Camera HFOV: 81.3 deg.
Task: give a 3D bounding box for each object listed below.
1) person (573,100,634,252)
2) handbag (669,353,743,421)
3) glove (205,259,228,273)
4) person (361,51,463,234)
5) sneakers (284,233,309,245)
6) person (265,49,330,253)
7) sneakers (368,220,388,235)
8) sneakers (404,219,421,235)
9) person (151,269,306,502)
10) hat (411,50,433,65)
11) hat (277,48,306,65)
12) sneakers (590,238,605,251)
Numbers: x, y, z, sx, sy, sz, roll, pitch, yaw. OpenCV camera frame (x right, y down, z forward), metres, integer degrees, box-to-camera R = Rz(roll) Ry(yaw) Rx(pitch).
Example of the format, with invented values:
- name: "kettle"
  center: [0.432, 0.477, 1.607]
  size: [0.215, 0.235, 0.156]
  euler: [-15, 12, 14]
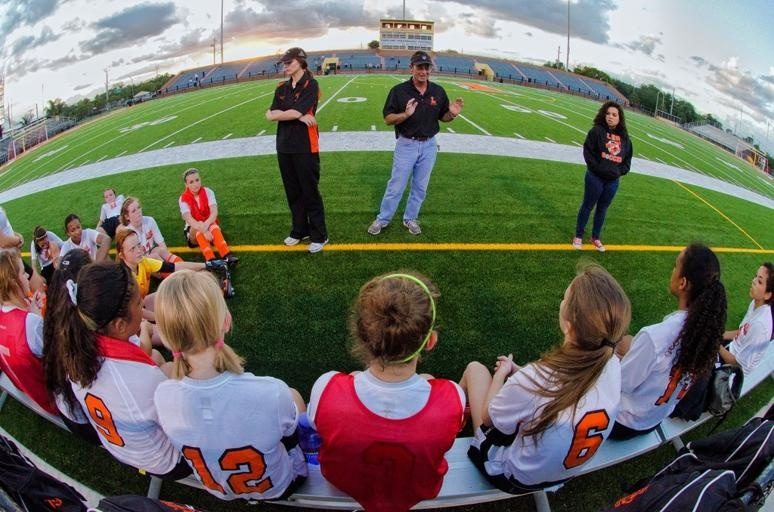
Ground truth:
- name: "person"
  center: [3.096, -1.141, 6.514]
  size: [0.689, 1.992, 0.972]
  euler: [16, 32, 19]
- name: "handbag"
  center: [2.852, 1.227, 4.104]
  size: [0.572, 0.246, 0.536]
  euler: [-25, 19, -24]
- name: "glove"
  center: [-2.160, 0.129, 5.684]
  size: [0.146, 0.114, 0.328]
  euler: [-6, -1, 18]
- name: "person"
  center: [0.366, -1.594, 6.549]
  size: [1.289, 2.466, 0.771]
  euler: [-21, 38, -36]
- name: "sneakers"
  center: [-1.327, -0.241, 6.607]
  size: [0.349, 0.141, 0.140]
  euler: [-2, 8, -35]
- name: "person"
  center: [-1.203, -1.446, 6.173]
  size: [0.750, 2.593, 1.195]
  euler: [-4, 31, -14]
- name: "sneakers"
  center: [-0.144, -0.442, 6.816]
  size: [0.149, 0.151, 0.387]
  euler: [22, 21, 24]
- name: "sneakers"
  center: [0.398, -0.465, 6.872]
  size: [0.160, 0.124, 0.300]
  euler: [-13, 33, -26]
- name: "person"
  center: [-1.192, 1.147, 3.308]
  size: [1.015, 1.933, 0.741]
  euler: [28, 38, 35]
- name: "hat"
  center: [0.468, -2.739, 6.268]
  size: [0.254, 0.168, 0.329]
  euler: [1, 6, -1]
- name: "hat"
  center: [-1.211, -2.583, 5.825]
  size: [0.331, 0.235, 0.464]
  euler: [-3, 31, -13]
- name: "sneakers"
  center: [3.173, -0.173, 6.705]
  size: [0.104, 0.105, 0.268]
  euler: [-15, 37, -12]
